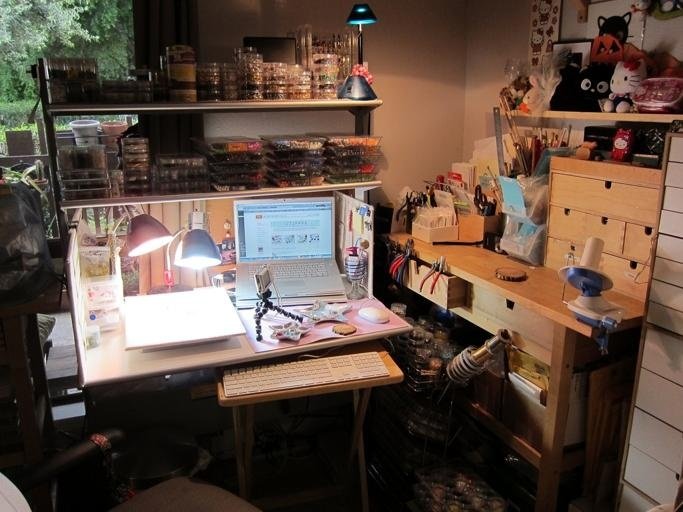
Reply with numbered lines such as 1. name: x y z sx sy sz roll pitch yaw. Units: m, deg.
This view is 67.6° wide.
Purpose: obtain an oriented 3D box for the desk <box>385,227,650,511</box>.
1. desk: 0.760 0.425 2.303 0.531 1.008 1.210 -2 13 -14

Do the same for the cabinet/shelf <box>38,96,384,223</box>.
1. cabinet/shelf: -0.730 -0.559 2.756 1.944 0.676 0.682 -4 19 -25

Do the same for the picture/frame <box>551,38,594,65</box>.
1. picture/frame: 1.137 -0.998 2.493 0.014 0.136 0.189 2 4 -39

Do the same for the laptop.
1. laptop: -0.319 -0.075 2.747 0.628 0.533 0.368 -5 17 -31

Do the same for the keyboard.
1. keyboard: -0.149 0.490 2.143 0.682 0.058 0.168 -6 17 -13

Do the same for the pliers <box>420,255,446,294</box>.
1. pliers: 0.458 0.097 2.518 0.032 0.186 0.099 18 3 -41

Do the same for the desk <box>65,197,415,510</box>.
1. desk: -0.501 0.438 2.489 1.277 1.317 0.753 -8 24 -19

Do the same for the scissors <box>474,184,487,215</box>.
1. scissors: 0.746 -0.307 2.746 0.069 0.142 0.131 2 17 15

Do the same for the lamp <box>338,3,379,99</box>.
1. lamp: 0.107 -0.992 2.584 0.188 0.537 0.201 -4 21 -37

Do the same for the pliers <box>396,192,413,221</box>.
1. pliers: 0.337 -0.288 2.959 0.045 0.153 0.118 12 41 -23

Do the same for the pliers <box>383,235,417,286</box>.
1. pliers: 0.302 0.020 2.755 0.136 0.242 0.157 -3 15 -17

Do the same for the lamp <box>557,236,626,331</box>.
1. lamp: 0.973 0.085 1.922 0.219 0.335 0.262 -6 12 -10

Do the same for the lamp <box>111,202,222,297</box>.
1. lamp: -0.815 0.033 2.515 0.363 0.531 0.543 19 18 40
